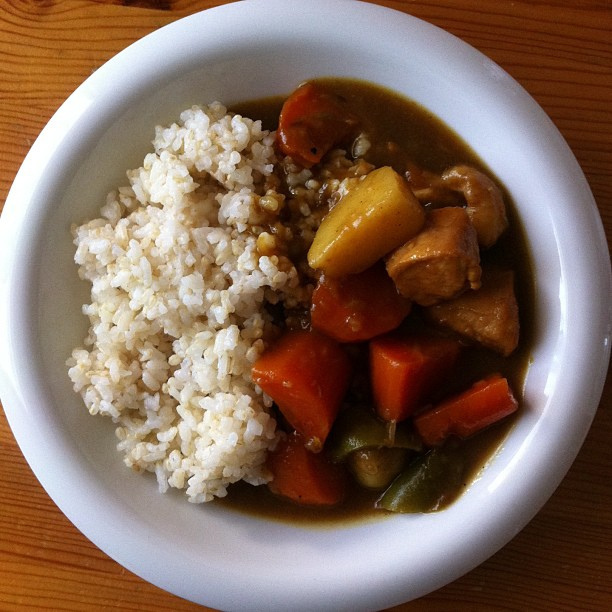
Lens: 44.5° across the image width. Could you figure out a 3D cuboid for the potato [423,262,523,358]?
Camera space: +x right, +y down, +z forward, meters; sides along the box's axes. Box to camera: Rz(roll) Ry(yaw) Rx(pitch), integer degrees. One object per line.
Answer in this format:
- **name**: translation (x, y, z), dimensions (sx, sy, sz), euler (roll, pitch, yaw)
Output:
- **potato**: translation (0.571, 0.011, 2.250), dimensions (0.278, 0.118, 0.256), euler (39, 87, 3)
